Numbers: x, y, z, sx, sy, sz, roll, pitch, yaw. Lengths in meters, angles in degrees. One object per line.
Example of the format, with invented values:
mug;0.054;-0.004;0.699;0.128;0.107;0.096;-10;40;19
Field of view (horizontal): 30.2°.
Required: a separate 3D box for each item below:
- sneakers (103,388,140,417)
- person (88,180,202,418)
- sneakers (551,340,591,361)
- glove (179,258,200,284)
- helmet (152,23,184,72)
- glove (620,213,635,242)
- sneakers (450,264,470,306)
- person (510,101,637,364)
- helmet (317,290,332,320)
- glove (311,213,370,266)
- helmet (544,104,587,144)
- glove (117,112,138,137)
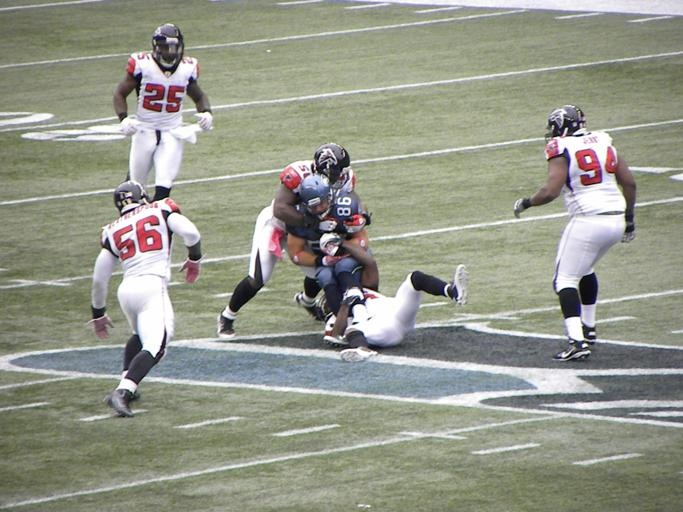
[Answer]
sneakers;-1.741;1.143;9.947;0.214;0.198;0.180;-1;10;-10
person;-1.607;0.297;10.349;0.893;1.746;1.233;-1;10;-5
sneakers;1.957;0.785;10.778;0.296;0.178;0.307;2;9;13
glove;-1.313;0.108;10.942;0.209;0.241;0.095;9;41;2
helmet;-1.839;-2.181;13.370;0.314;0.506;0.338;-1;11;-9
glove;2.565;-0.260;11.411;0.121;0.283;0.092;14;35;22
sneakers;0.989;0.231;10.733;0.225;0.305;0.131;6;31;18
person;2.061;-0.234;11.014;0.893;2.110;1.134;3;11;11
helmet;-0.160;0.453;11.587;0.120;0.210;0.194;-14;25;-27
glove;-0.014;-0.179;11.194;0.631;0.243;0.437;0;52;8
helmet;1.993;-1.156;11.161;0.393;0.262;0.312;2;9;40
glove;-2.259;-1.381;13.518;0.307;0.119;0.336;-11;-10;-10
